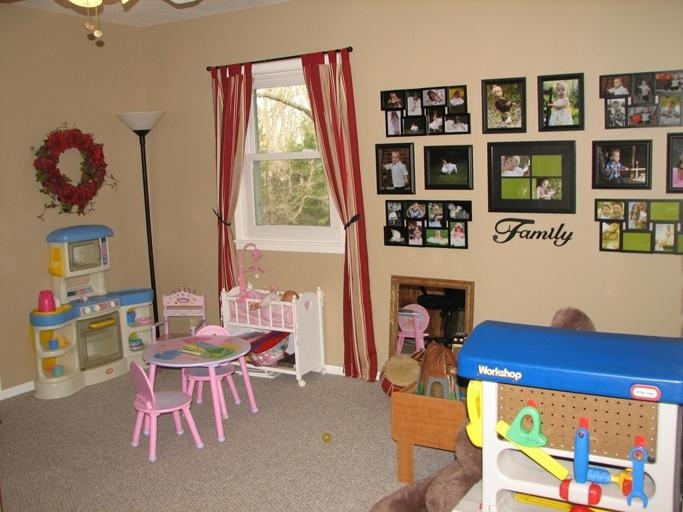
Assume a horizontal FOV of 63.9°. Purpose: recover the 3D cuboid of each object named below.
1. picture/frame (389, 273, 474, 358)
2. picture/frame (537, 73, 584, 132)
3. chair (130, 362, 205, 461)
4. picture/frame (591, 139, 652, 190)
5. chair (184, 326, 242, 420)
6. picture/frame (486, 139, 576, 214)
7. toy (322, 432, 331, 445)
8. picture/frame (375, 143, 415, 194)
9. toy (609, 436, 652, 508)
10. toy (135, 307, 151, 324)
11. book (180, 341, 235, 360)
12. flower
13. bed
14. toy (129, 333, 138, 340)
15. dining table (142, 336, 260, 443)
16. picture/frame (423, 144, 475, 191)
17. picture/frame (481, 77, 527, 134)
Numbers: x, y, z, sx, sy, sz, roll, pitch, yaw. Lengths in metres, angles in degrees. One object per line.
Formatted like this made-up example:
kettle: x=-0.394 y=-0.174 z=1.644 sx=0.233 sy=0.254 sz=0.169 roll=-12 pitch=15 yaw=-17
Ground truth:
picture/frame: x=0.718 y=0.452 z=4.246 sx=0.606 sy=0.752 sz=0.053 roll=4 pitch=5 yaw=22
picture/frame: x=1.553 y=-1.092 z=3.856 sx=0.382 sy=0.505 sz=0.034 roll=3 pitch=9 yaw=30
chair: x=-1.176 y=1.014 z=3.731 sx=0.483 sy=0.572 sz=0.483 roll=0 pitch=6 yaw=2
picture/frame: x=1.922 y=-0.630 z=3.734 sx=0.319 sy=0.321 sz=0.023 roll=4 pitch=6 yaw=34
chair: x=-0.984 y=0.874 z=4.188 sx=0.363 sy=0.594 sz=0.412 roll=-7 pitch=2 yaw=2
picture/frame: x=1.385 y=-0.572 z=4.012 sx=0.594 sy=0.565 sz=0.031 roll=2 pitch=-17 yaw=17
toy: x=-0.102 y=1.269 z=3.810 sx=0.071 sy=0.025 sz=0.117 roll=-3 pitch=14 yaw=-2
picture/frame: x=0.450 y=-0.726 z=4.456 sx=0.370 sy=0.452 sz=0.031 roll=5 pitch=16 yaw=27
toy: x=0.943 y=0.685 z=1.752 sx=0.080 sy=0.210 sz=0.103 roll=5 pitch=15 yaw=27
toy: x=-1.856 y=0.568 z=5.126 sx=0.126 sy=0.059 sz=0.169 roll=-2 pitch=8 yaw=-21
book: x=-0.951 y=0.677 z=3.921 sx=0.264 sy=0.039 sz=0.148 roll=6 pitch=12 yaw=35
flower: x=-2.407 y=-0.752 z=4.883 sx=0.187 sy=0.752 sz=0.703 roll=3 pitch=6 yaw=42
bed: x=-0.589 y=0.701 z=4.874 sx=0.773 sy=0.762 sz=0.445 roll=-1 pitch=2 yaw=30
toy: x=-1.938 y=0.759 z=5.115 sx=0.054 sy=0.035 sz=0.053 roll=12 pitch=17 yaw=42
dining table: x=-1.047 y=0.852 z=3.976 sx=0.669 sy=0.540 sz=0.702 roll=0 pitch=6 yaw=-1
picture/frame: x=0.852 y=-0.696 z=4.267 sx=0.337 sy=0.314 sz=0.025 roll=5 pitch=11 yaw=29
picture/frame: x=1.202 y=-1.118 z=4.024 sx=0.394 sy=0.499 sz=0.034 roll=2 pitch=6 yaw=30
